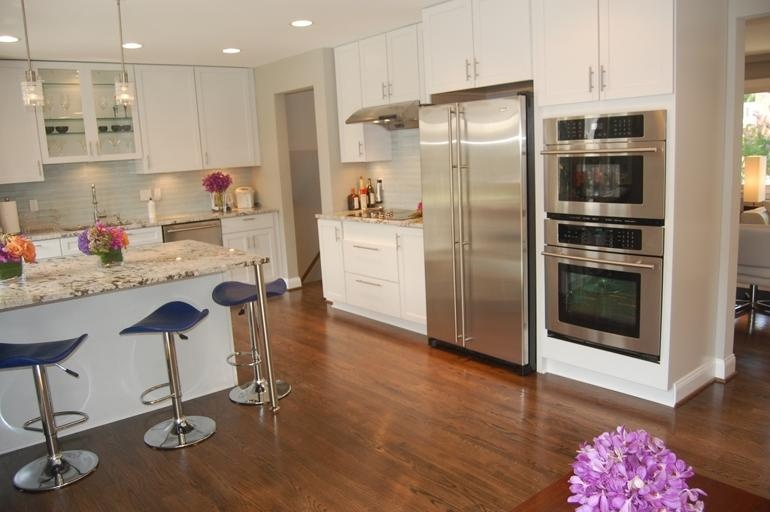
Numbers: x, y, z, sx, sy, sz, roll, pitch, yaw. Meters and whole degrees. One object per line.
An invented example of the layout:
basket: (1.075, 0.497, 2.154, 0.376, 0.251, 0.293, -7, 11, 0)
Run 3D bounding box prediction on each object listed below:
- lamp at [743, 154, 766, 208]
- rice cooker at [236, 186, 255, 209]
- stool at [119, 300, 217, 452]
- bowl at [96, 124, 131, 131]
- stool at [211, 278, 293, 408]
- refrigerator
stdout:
lamp: (6.029, -1.237, 8.643, 0.327, 0.775, 0.403, 5, 15, 32)
rice cooker: (-1.983, -0.828, 7.508, 0.287, 0.287, 0.427, -6, 12, -13)
stool: (-1.632, 0.876, 4.063, 0.594, 1.010, 0.628, -9, 14, -26)
bowl: (-3.324, -1.564, 6.526, 0.054, 0.081, 0.364, 10, 16, 44)
stool: (-1.152, 0.663, 4.692, 0.612, 1.018, 0.920, -6, 13, -11)
refrigerator: (0.863, -0.200, 4.844, 0.441, 2.371, 1.123, -15, 17, -39)
